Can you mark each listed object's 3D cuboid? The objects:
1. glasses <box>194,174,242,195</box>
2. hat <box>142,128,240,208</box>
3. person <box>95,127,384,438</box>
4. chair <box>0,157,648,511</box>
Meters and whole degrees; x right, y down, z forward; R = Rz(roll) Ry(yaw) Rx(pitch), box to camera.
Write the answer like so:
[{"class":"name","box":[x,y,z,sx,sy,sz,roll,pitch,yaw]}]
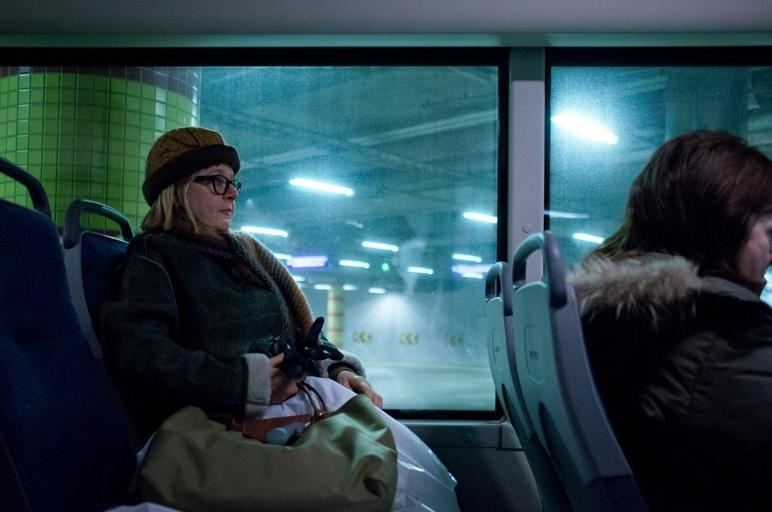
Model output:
[{"class":"glasses","box":[-0.707,-0.306,2.875,0.109,0.032,0.108,-4,-14,27]},{"class":"hat","box":[-0.861,-0.412,2.963,0.356,0.259,0.317,-11,-22,-29]},{"class":"person","box":[-0.667,0.110,2.955,0.917,1.299,1.475,0,0,21]},{"class":"chair","box":[-0.201,0.342,2.995,2.175,1.355,1.216,-3,-9,5]}]
